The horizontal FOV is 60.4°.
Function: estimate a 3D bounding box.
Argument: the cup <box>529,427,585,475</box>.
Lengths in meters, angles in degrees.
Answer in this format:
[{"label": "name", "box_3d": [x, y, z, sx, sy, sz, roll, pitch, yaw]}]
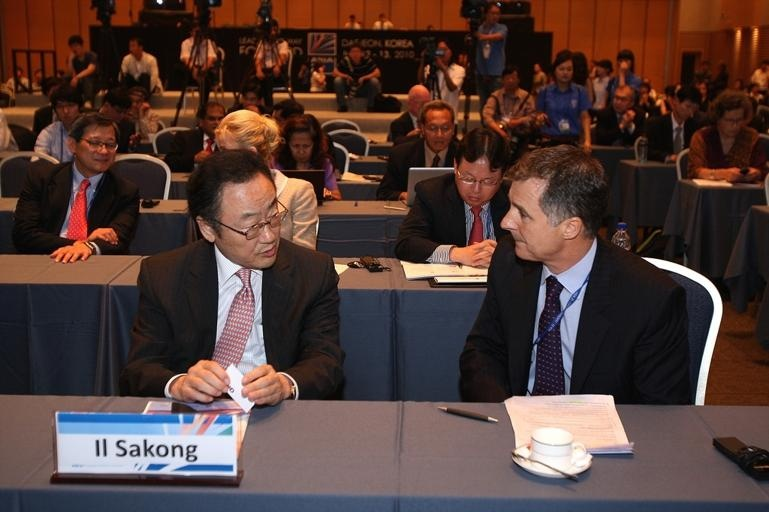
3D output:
[{"label": "cup", "box_3d": [0.521, 0.591, 2.005, 0.148, 0.099, 0.114, 8, -1, 11]}]

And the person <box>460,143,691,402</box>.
[{"label": "person", "box_3d": [0.729, 0.104, 2.505, 0.869, 0.998, 0.456, 8, 16, 26]}]

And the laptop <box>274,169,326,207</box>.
[{"label": "laptop", "box_3d": [-0.563, -0.519, 4.844, 0.303, 0.207, 0.218, 1, 32, -7]}]

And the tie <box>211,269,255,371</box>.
[{"label": "tie", "box_3d": [-0.574, 0.251, 2.584, 0.105, 0.394, 0.029, 16, -17, -2]}]

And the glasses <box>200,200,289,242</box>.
[{"label": "glasses", "box_3d": [-0.532, -0.127, 2.607, 0.187, 0.057, 0.189, 5, 34, 40]}]

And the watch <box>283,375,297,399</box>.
[{"label": "watch", "box_3d": [-0.347, 0.482, 2.421, 0.062, 0.087, 0.033, -5, -10, 2]}]

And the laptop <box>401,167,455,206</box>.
[{"label": "laptop", "box_3d": [0.298, -0.515, 4.515, 0.315, 0.228, 0.238, 1, 20, -3]}]

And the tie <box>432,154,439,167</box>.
[{"label": "tie", "box_3d": [0.420, -0.772, 5.371, 0.031, 0.135, 0.038, 15, 7, 12]}]

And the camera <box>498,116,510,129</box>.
[{"label": "camera", "box_3d": [1.587, -1.773, 8.765, 0.106, 0.118, 0.369, 35, 23, 10]}]

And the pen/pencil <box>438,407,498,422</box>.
[{"label": "pen/pencil", "box_3d": [0.281, 0.543, 2.247, 0.207, 0.022, 0.022, 5, 2, 39]}]

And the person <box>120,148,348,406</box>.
[{"label": "person", "box_3d": [-0.589, 0.089, 2.502, 0.872, 0.928, 0.654, 0, 15, -5]}]
